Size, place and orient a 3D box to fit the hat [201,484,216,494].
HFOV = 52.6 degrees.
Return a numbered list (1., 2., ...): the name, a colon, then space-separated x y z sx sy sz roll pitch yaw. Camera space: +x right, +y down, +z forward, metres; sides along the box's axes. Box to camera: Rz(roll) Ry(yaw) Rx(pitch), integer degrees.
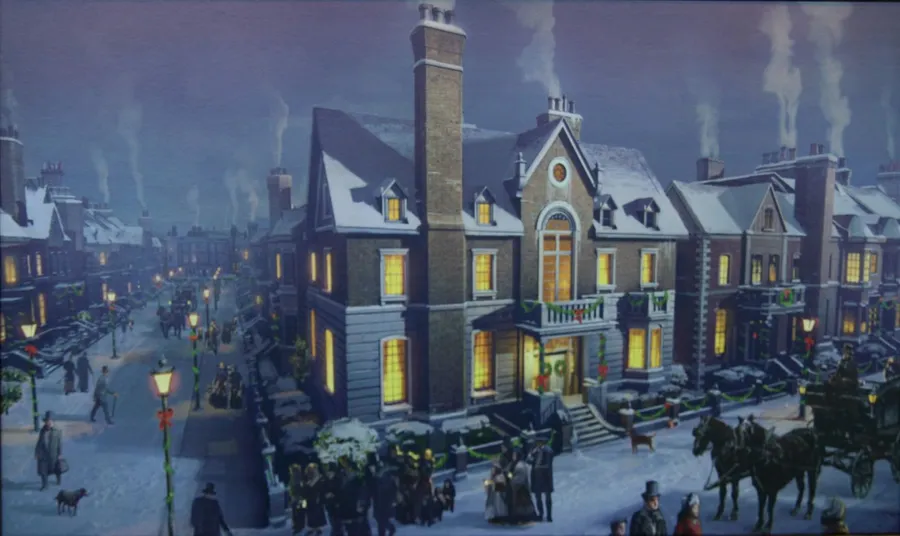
1. hat: -14.986 13.857 57.245 0.804 0.393 1.024 2 -1 8
